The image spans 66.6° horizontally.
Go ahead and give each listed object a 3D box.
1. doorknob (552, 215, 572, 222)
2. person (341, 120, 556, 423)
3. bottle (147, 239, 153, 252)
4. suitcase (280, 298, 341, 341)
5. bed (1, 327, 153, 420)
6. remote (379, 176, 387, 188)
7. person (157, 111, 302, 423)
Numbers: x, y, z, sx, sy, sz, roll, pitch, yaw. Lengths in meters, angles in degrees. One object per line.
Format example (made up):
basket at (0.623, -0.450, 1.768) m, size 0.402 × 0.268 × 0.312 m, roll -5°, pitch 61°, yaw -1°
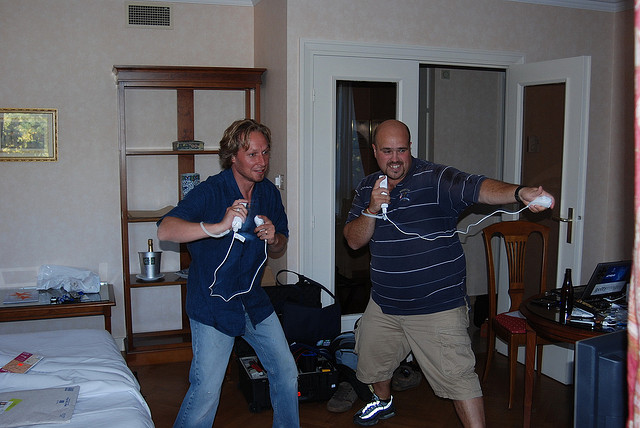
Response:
doorknob at (2.122, 0.045, 4.336) m, size 0.088 × 0.037 × 0.200 m, roll -5°, pitch 9°, yaw -24°
person at (0.680, 0.515, 3.254) m, size 1.103 × 2.262 × 0.551 m, roll 2°, pitch 9°, yaw 21°
bottle at (-1.664, 0.304, 4.795) m, size 0.047 × 0.134 × 0.197 m, roll -5°, pitch 9°, yaw -19°
suitcase at (-0.076, 0.904, 4.088) m, size 0.370 × 0.373 × 0.101 m, roll -2°, pitch 10°, yaw -13°
bed at (-1.581, 1.052, 3.103) m, size 0.711 × 0.260 × 1.391 m, roll -7°, pitch 10°, yaw -34°
remote at (0.410, -0.209, 3.141) m, size 0.050 × 0.066 × 0.020 m, roll 1°, pitch -1°, yaw -13°
person at (-0.518, 0.394, 2.966) m, size 0.851 × 1.917 × 0.486 m, roll -6°, pitch 9°, yaw -27°
